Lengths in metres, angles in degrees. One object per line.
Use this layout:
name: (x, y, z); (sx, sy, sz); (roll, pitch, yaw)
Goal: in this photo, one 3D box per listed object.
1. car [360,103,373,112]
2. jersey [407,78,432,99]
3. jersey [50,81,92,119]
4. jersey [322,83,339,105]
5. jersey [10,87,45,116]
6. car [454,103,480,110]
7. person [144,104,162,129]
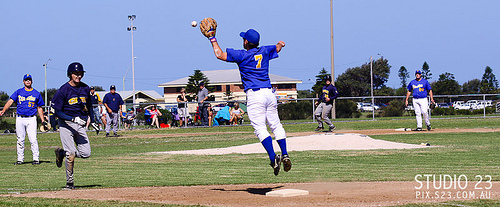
car: (10.686, 0.307, 63.316); (1.110, 0.593, 1.979); (-1, 0, -8)
jersey: (12.260, -1.105, 49.953); (2.416, 1.526, 0.980); (-2, 8, 19)
jersey: (-10.458, -0.150, 40.515); (2.737, 1.773, 1.227); (1, 14, -10)
jersey: (5.915, -0.730, 51.632); (1.008, 1.306, 0.528); (-4, -2, -16)
jersey: (-14.434, -0.116, 44.627); (2.796, 1.748, 0.867); (0, 6, 1)
car: (20.155, 0.214, 63.980); (1.339, 0.568, 3.567); (-3, -1, -3)
person: (-8.363, 1.077, 60.008); (1.800, 2.000, 0.643); (-1, 3, -6)
